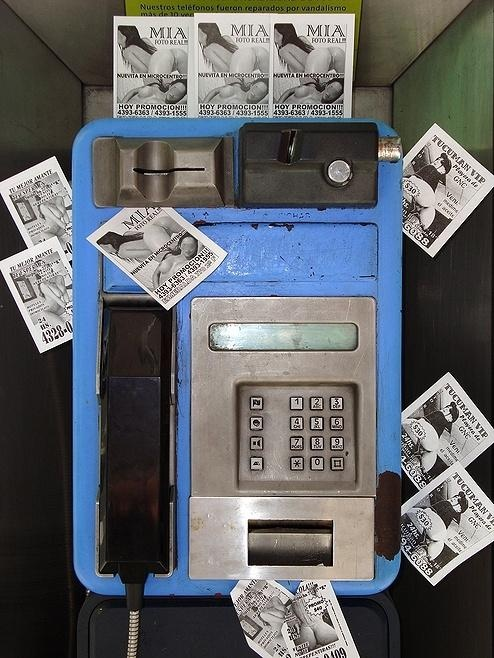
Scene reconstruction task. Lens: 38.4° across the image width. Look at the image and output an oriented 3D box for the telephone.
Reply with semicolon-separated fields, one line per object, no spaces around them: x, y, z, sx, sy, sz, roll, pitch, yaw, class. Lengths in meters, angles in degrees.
-0.019;0.054;1.149;0.528;0.725;0.377;0;25;10;telephone
